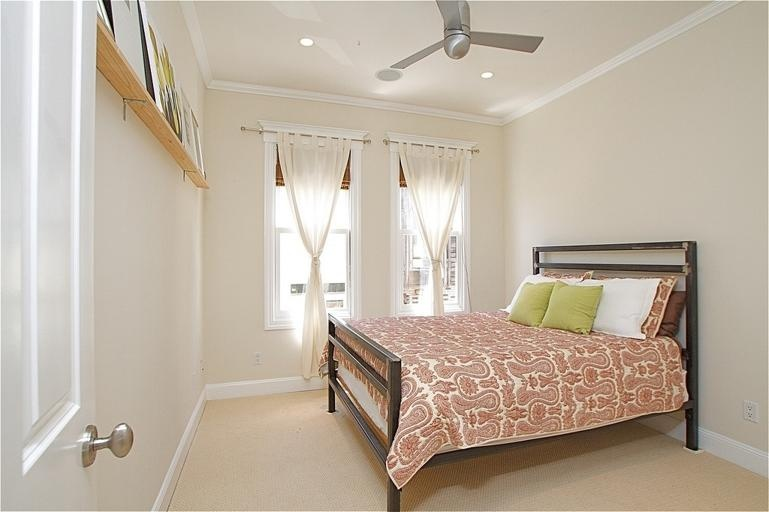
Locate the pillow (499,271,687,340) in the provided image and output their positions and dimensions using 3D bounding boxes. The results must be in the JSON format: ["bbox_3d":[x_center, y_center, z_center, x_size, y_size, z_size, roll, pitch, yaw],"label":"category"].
[{"bbox_3d":[1.893,0.360,3.957,0.453,0.363,1.068,-28,15,-35],"label":"pillow"}]

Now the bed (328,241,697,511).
[{"bbox_3d":[0.867,0.607,4.226,2.594,1.550,2.160,-4,11,-20],"label":"bed"}]
